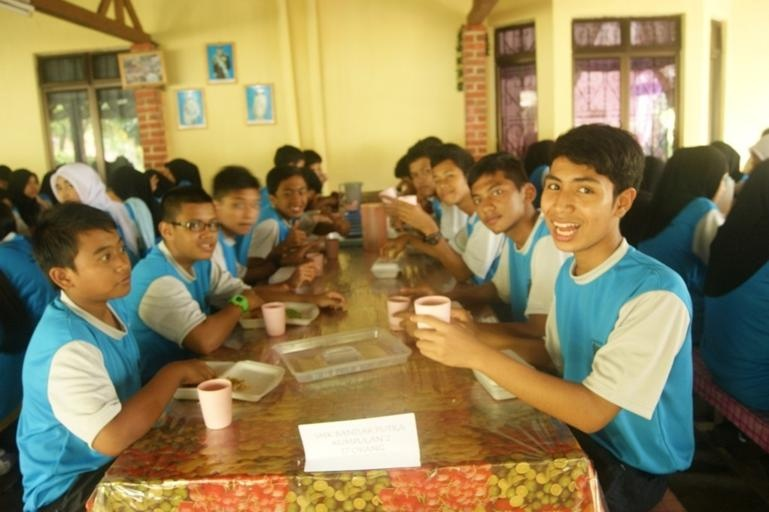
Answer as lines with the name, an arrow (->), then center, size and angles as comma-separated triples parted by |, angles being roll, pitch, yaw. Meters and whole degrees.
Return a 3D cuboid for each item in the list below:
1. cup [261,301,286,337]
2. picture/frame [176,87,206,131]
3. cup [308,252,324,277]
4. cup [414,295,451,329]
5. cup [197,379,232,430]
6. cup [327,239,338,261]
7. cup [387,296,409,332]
cup -> -0.466, 0.275, 2.555 | 0.127, 0.138, 0.131 | 0, 7, 0
picture/frame -> -2.383, -1.819, 7.183 | 0.498, 0.622, 0.064 | -1, 9, 1
cup -> -0.398, 0.046, 3.457 | 0.117, 0.127, 0.122 | 0, 10, 0
cup -> 0.175, 0.217, 2.200 | 0.122, 0.090, 0.115 | -5, 12, 1
cup -> -0.552, 0.493, 2.013 | 0.156, 0.161, 0.142 | -1, 8, -11
cup -> -0.345, -0.041, 3.818 | 0.111, 0.119, 0.108 | -1, 10, 0
cup -> 0.055, 0.247, 2.515 | 0.125, 0.128, 0.118 | 1, 3, 0
